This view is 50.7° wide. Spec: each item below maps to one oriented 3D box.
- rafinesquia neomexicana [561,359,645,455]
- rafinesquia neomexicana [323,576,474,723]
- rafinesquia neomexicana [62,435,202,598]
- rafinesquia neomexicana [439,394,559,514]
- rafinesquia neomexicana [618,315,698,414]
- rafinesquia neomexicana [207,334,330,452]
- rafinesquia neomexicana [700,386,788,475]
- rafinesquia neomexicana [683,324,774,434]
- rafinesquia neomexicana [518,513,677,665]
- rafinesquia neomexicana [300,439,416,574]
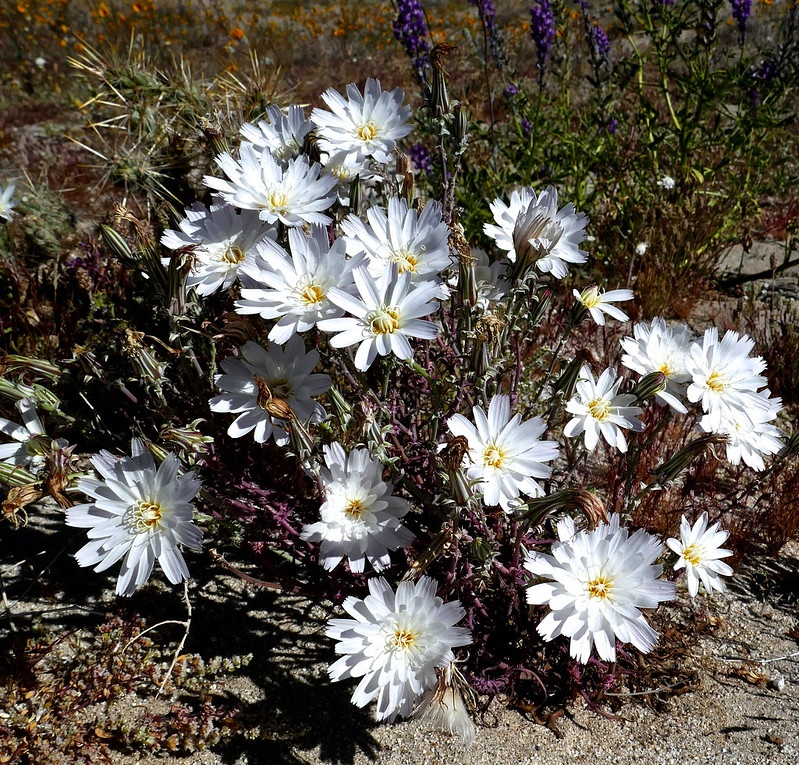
[{"bbox_3d":[0.658,0.080,2.778,0.257,0.254,0.238,-21,33,-13],"label":"rafinesquia neomexicana"},{"bbox_3d":[0.018,0.756,2.574,0.384,0.131,0.429,-9,-8,14],"label":"rafinesquia neomexicana"},{"bbox_3d":[-0.745,0.391,2.518,0.355,0.135,0.367,-22,25,-32],"label":"rafinesquia neomexicana"},{"bbox_3d":[0.289,0.186,2.618,0.327,0.101,0.358,19,1,-8],"label":"rafinesquia neomexicana"},{"bbox_3d":[0.860,-0.072,2.829,0.254,0.099,0.310,12,72,7],"label":"rafinesquia neomexicana"},{"bbox_3d":[-0.382,-0.005,2.546,0.317,0.122,0.351,-36,77,-11],"label":"rafinesquia neomexicana"},{"bbox_3d":[1.133,0.168,2.796,0.088,0.288,0.278,-3,38,50],"label":"rafinesquia neomexicana"},{"bbox_3d":[1.036,0.016,2.849,0.299,0.332,0.090,-32,0,-25],"label":"rafinesquia neomexicana"},{"bbox_3d":[0.577,0.591,2.558,0.331,0.332,0.117,-11,53,-45],"label":"rafinesquia neomexicana"},{"bbox_3d":[-0.131,0.406,2.570,0.311,0.418,0.229,0,33,18],"label":"rafinesquia neomexicana"}]
